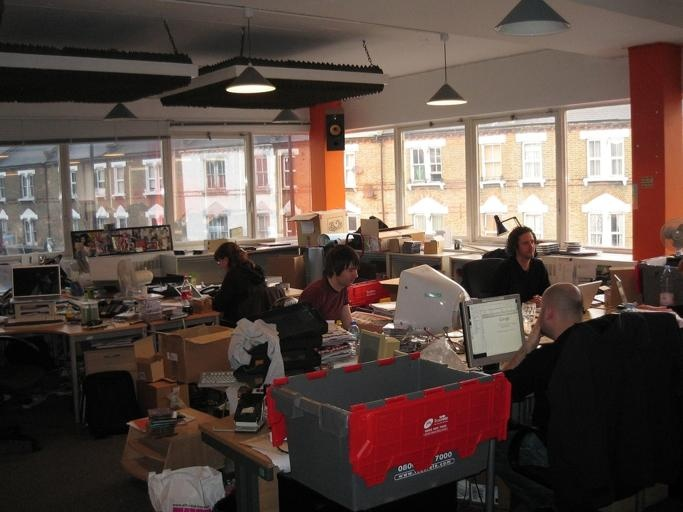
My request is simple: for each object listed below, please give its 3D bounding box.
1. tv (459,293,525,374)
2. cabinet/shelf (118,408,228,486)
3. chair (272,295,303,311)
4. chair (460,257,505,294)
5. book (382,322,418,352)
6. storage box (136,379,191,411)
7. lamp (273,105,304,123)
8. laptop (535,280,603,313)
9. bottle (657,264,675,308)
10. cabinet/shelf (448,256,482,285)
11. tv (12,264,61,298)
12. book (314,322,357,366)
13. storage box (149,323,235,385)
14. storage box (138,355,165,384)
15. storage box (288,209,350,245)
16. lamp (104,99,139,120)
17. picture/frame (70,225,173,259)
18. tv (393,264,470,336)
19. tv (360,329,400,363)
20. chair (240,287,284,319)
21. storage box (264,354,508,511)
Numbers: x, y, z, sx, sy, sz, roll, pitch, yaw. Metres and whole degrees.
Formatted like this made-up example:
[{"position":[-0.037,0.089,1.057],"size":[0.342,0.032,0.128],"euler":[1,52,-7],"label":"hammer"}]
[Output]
[{"position":[0.975,0.511,3.742],"size":[0.494,0.478,0.146],"euler":[-4,-1,-29],"label":"tv"},{"position":[-1.131,1.250,3.914],"size":[0.431,0.186,0.399],"euler":[20,13,28],"label":"cabinet/shelf"},{"position":[-0.437,0.381,4.520],"size":[0.239,0.105,0.182],"euler":[-14,0,42],"label":"chair"},{"position":[1.417,0.218,5.800],"size":[0.341,0.438,0.392],"euler":[0,0,5],"label":"chair"},{"position":[0.426,0.576,4.053],"size":[0.192,0.180,0.133],"euler":[-3,8,-5],"label":"book"},{"position":[-1.545,1.180,4.971],"size":[0.375,0.355,0.368],"euler":[0,3,-29],"label":"storage box"},{"position":[-0.793,-2.007,8.376],"size":[0.450,0.211,0.444],"euler":[0,3,-3],"label":"lamp"},{"position":[1.635,0.304,4.115],"size":[0.319,0.190,0.284],"euler":[-7,9,-32],"label":"laptop"},{"position":[2.858,0.276,5.027],"size":[0.114,0.343,0.060],"euler":[-2,4,23],"label":"bottle"},{"position":[1.579,0.144,7.544],"size":[0.482,0.455,0.338],"euler":[0,3,0],"label":"cabinet/shelf"},{"position":[-3.039,0.267,5.782],"size":[0.518,0.340,0.324],"euler":[-3,1,1],"label":"tv"},{"position":[-0.018,0.574,3.747],"size":[0.299,0.101,0.244],"euler":[-5,9,-27],"label":"book"},{"position":[-1.254,0.851,5.047],"size":[0.481,0.384,0.582],"euler":[-1,4,39],"label":"storage box"},{"position":[-1.679,0.981,5.034],"size":[0.235,0.223,0.230],"euler":[-2,2,-32],"label":"storage box"},{"position":[-0.273,-0.415,8.793],"size":[0.918,0.506,0.912],"euler":[-5,2,-31],"label":"storage box"},{"position":[-2.733,-1.733,7.102],"size":[0.321,0.324,0.325],"euler":[0,-1,-5],"label":"lamp"},{"position":[-3.211,-0.200,8.437],"size":[1.367,0.271,0.125],"euler":[-6,4,-28],"label":"picture/frame"},{"position":[0.688,0.363,4.258],"size":[0.499,0.484,0.394],"euler":[3,-2,23],"label":"tv"},{"position":[0.225,0.578,3.434],"size":[0.137,0.224,0.235],"euler":[3,0,-39],"label":"tv"},{"position":[-0.747,0.436,5.182],"size":[0.309,0.405,0.232],"euler":[-2,12,-27],"label":"chair"},{"position":[0.214,0.562,2.454],"size":[0.938,0.481,0.709],"euler":[-5,7,-38],"label":"storage box"}]
